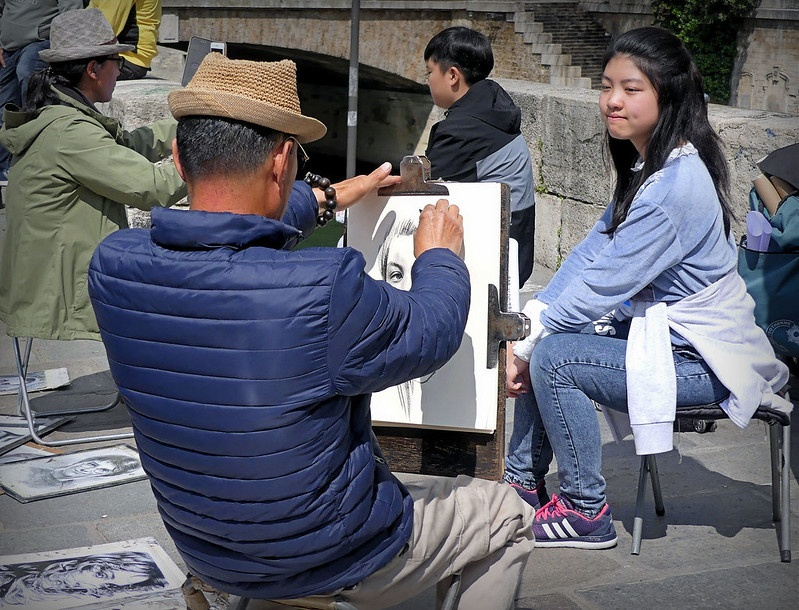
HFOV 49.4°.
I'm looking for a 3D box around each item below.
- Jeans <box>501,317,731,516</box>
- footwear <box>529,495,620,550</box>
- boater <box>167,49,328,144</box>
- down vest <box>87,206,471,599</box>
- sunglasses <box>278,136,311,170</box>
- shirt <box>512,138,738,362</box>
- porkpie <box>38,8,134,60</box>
[{"bbox_3d":[0.955,0.504,3.837,0.962,0.836,0.832,-1,4,36],"label":"Jeans"},{"bbox_3d":[0.738,0.941,3.797,0.489,0.230,0.168,2,1,4],"label":"footwear"},{"bbox_3d":[-0.410,-0.570,2.530,0.277,0.130,0.326,11,-5,46],"label":"boater"},{"bbox_3d":[-0.406,0.268,2.823,1.059,1.175,0.885,7,13,29],"label":"down vest"},{"bbox_3d":[-0.303,-0.455,2.583,0.023,0.079,0.078,-29,8,-9],"label":"sunglasses"},{"bbox_3d":[0.925,-0.243,3.678,1.036,0.712,0.600,-14,20,7],"label":"shirt"},{"bbox_3d":[-1.595,-1.380,4.476,0.364,0.152,0.313,-6,11,10],"label":"porkpie"}]
